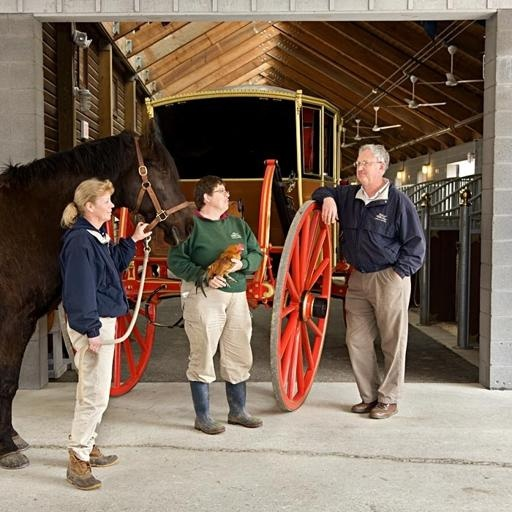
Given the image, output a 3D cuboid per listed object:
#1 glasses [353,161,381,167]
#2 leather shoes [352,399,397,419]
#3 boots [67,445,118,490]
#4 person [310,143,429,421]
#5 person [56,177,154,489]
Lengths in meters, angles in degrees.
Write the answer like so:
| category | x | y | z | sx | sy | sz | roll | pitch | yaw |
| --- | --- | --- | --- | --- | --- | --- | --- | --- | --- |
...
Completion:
| category | x | y | z | sx | sy | sz | roll | pitch | yaw |
| --- | --- | --- | --- | --- | --- | --- | --- | --- | --- |
| glasses | 0.723 | -0.584 | 5.459 | 0.169 | 0.066 | 0.168 | 0 | 6 | 6 |
| leather shoes | 0.761 | 1.004 | 5.521 | 0.299 | 0.127 | 0.115 | 4 | 0 | -9 |
| boots | -0.867 | 1.070 | 4.492 | 0.191 | 0.096 | 0.281 | 7 | 6 | 12 |
| person | 0.753 | 0.160 | 5.561 | 0.688 | 1.758 | 0.417 | 2 | 7 | 25 |
| person | -0.849 | 0.400 | 4.558 | 0.331 | 1.610 | 0.491 | 0 | 6 | 5 |
